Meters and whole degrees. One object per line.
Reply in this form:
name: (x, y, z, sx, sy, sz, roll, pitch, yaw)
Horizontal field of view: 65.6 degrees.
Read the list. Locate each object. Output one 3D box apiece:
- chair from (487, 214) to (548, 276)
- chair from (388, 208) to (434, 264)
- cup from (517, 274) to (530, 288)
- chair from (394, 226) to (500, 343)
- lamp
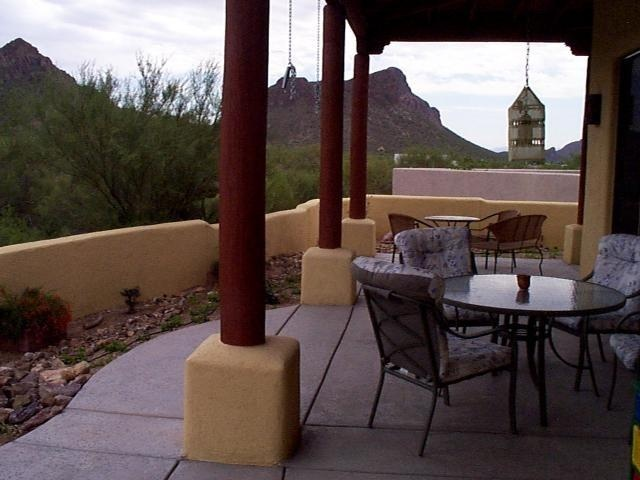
chair: (2.941, 0.088, 7.413, 0.797, 0.938, 0.705, -4, 16, -10)
chair: (1.177, -0.022, 7.125, 0.524, 0.725, 0.527, 10, -4, -1)
cup: (1.441, 0.293, 3.547, 0.096, 0.099, 0.091, 0, -1, 0)
chair: (1.328, 0.337, 4.492, 0.857, 1.107, 0.942, -3, 0, -22)
lamp: (1.942, -1.105, 4.651, 0.337, 0.712, 0.300, 4, 12, 24)
